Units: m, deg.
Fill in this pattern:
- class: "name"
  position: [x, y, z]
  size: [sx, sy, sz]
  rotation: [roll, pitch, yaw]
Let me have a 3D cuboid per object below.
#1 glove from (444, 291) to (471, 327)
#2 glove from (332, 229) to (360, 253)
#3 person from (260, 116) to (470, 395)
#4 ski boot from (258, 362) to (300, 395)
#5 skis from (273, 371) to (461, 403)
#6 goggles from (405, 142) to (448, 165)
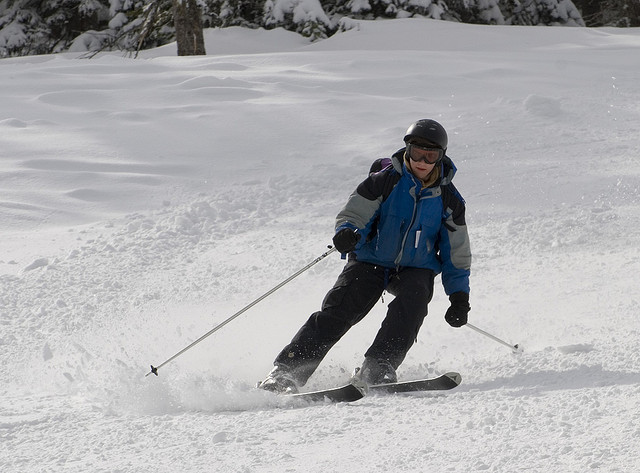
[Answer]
- class: "glove"
  position: [1.043, 0.554, 5.181]
  size: [0.228, 0.246, 0.113]
  rotation: [17, -7, 11]
- class: "glove"
  position: [0.195, 0.047, 4.974]
  size: [0.184, 0.197, 0.114]
  rotation: [2, 21, 12]
- class: "person"
  position: [0.416, 0.109, 4.986]
  size: [1.434, 1.807, 0.820]
  rotation: [-14, 23, -29]
- class: "ski boot"
  position: [-0.274, 1.008, 4.843]
  size: [0.276, 0.154, 0.211]
  rotation: [3, 19, 13]
- class: "skis"
  position: [0.340, 1.075, 4.835]
  size: [1.306, 0.117, 0.089]
  rotation: [-3, 36, 0]
- class: "goggles"
  position: [0.777, -0.615, 5.025]
  size: [0.283, 0.168, 0.149]
  rotation: [0, 20, 5]
